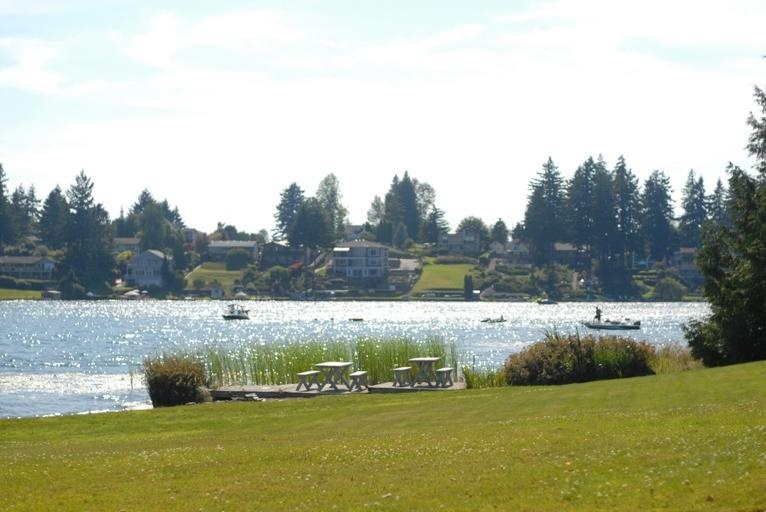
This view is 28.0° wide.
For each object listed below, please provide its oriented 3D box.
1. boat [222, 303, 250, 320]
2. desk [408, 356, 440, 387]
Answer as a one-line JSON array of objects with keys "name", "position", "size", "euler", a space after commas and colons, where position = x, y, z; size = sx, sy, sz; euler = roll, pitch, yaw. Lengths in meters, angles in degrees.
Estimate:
[{"name": "boat", "position": [-25.009, 8.951, 261.684], "size": [3.246, 2.393, 5.499], "euler": [0, -5, -6]}, {"name": "desk", "position": [4.546, 13.066, 177.565], "size": [3.118, 3.018, 3.252], "euler": [0, -3, 12]}]
